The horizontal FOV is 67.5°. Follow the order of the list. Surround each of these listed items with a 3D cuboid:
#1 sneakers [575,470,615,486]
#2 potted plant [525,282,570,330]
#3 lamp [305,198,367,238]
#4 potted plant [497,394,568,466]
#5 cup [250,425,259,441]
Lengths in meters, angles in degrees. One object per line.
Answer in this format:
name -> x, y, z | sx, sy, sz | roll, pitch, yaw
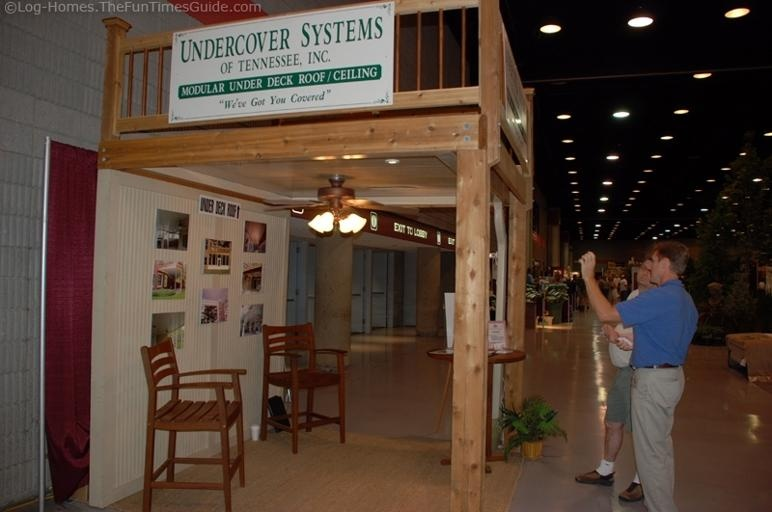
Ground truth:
sneakers -> 2.149, 2.305, 5.976 | 0.379, 0.153, 0.153 | 2, -5, 17
potted plant -> 5.666, 1.671, 20.214 | 1.658, 1.254, 1.693 | 0, -2, 17
lamp -> -0.581, -0.528, 6.954 | 0.572, 0.250, 0.560 | 2, 3, 12
potted plant -> 1.618, 1.981, 6.718 | 0.696, 0.528, 0.705 | -1, -5, 1
cup -> -1.606, 2.176, 7.114 | 0.108, 0.181, 0.091 | 0, -4, -16
